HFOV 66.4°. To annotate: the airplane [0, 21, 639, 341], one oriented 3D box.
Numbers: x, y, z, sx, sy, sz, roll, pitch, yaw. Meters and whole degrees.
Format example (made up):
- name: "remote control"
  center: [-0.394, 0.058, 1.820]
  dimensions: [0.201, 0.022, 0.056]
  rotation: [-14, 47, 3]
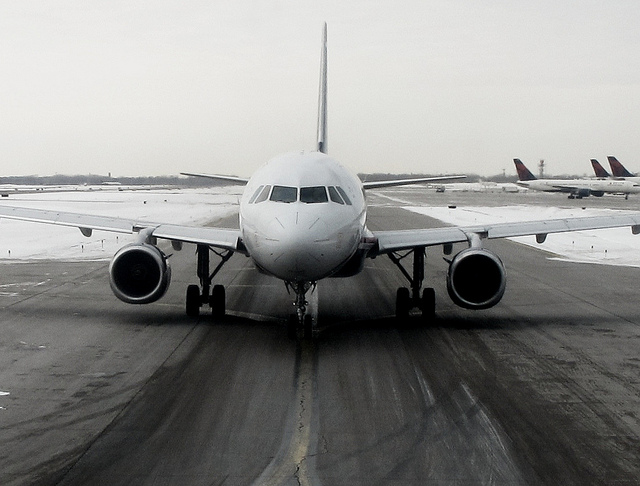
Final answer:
- name: "airplane"
  center: [-0.792, -0.093, 16.683]
  dimensions: [12.765, 5.319, 12.022]
  rotation: [1, 1, 2]
